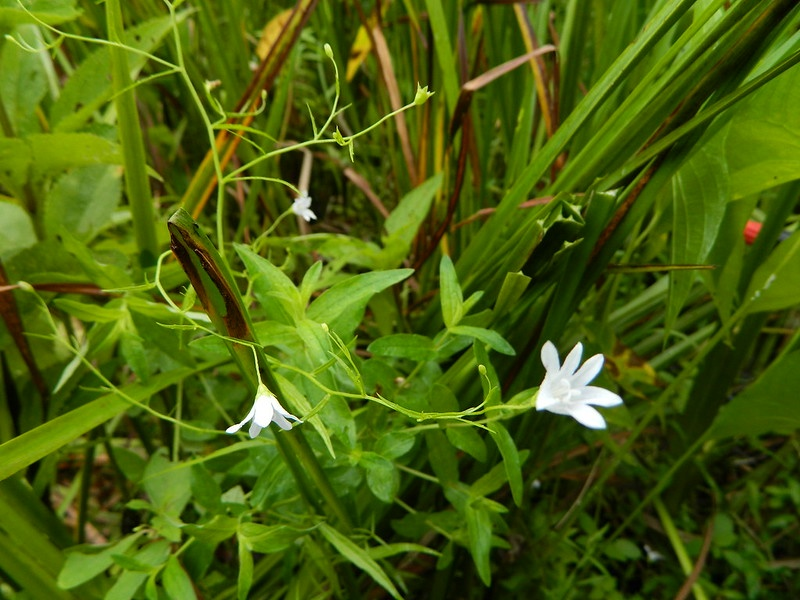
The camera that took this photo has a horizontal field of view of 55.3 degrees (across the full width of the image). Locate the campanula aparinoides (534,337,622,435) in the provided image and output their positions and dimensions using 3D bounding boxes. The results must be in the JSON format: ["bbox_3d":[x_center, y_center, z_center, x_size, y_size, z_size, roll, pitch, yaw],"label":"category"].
[{"bbox_3d":[0.142,0.068,0.671,0.064,0.041,0.067,-25,32,-37],"label":"campanula aparinoides"}]

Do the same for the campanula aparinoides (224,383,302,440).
[{"bbox_3d":[-0.115,0.100,0.677,0.040,0.035,0.045,5,44,-7],"label":"campanula aparinoides"}]
